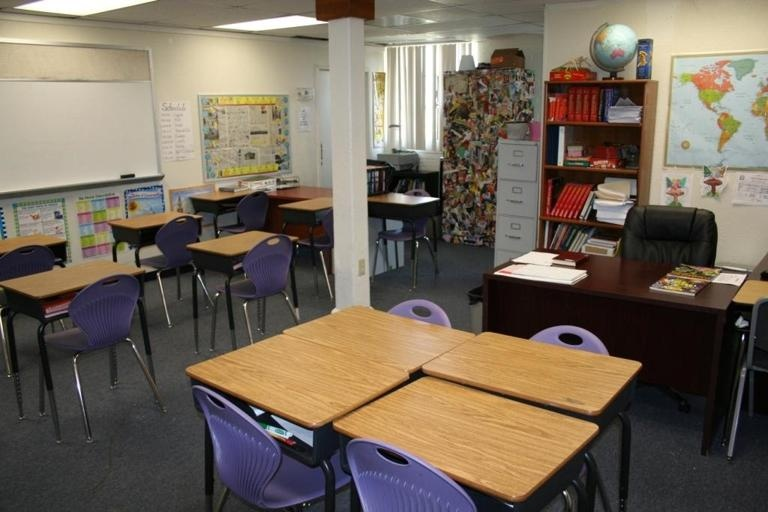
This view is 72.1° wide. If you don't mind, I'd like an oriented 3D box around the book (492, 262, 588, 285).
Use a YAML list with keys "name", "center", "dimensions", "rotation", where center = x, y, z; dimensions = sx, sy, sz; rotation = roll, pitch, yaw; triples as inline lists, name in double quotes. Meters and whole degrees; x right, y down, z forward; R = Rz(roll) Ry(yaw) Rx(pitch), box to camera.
- name: "book"
  center: [1.241, 0.083, 4.194]
  dimensions: [0.761, 0.125, 0.656]
  rotation: [6, 10, 42]

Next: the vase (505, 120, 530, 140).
- name: "vase"
  center: [1.589, -1.488, 6.250]
  dimensions: [0.255, 0.157, 0.215]
  rotation: [3, 9, 28]

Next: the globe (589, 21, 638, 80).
- name: "globe"
  center: [2.284, -2.067, 5.249]
  dimensions: [0.434, 0.478, 0.304]
  rotation: [3, 17, 19]

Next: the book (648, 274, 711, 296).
- name: "book"
  center: [2.139, 0.213, 3.841]
  dimensions: [0.306, 0.039, 0.373]
  rotation: [9, 18, 37]
